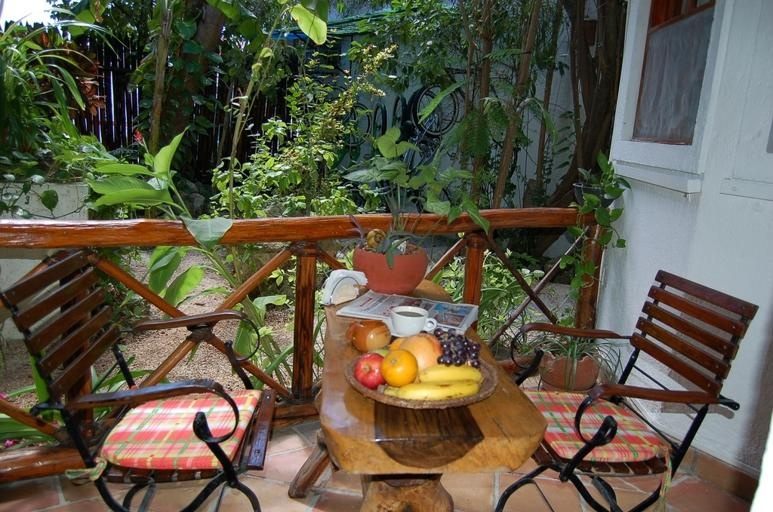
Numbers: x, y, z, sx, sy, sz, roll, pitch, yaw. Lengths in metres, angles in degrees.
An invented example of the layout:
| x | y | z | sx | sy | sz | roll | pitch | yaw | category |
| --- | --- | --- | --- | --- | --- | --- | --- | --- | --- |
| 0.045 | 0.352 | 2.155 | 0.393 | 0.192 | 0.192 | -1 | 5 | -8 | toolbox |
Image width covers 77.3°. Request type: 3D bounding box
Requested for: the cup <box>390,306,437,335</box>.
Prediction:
| x | y | z | sx | sy | sz | roll | pitch | yaw | category |
| --- | --- | --- | --- | --- | --- | --- | --- | --- | --- |
| 0.098 | 0.260 | 1.949 | 0.141 | 0.073 | 0.115 | 9 | 5 | 31 | cup |

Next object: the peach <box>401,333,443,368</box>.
| x | y | z | sx | sy | sz | roll | pitch | yaw | category |
| --- | --- | --- | --- | --- | --- | --- | --- | --- | --- |
| 0.119 | 0.324 | 1.709 | 0.115 | 0.105 | 0.113 | 1 | 3 | 7 | peach |

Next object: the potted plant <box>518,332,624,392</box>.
| x | y | z | sx | sy | sz | roll | pitch | yaw | category |
| --- | --- | --- | --- | --- | --- | --- | --- | --- | --- |
| 1.291 | 0.710 | 3.107 | 0.264 | 0.442 | 0.436 | -4 | 8 | -28 | potted plant |

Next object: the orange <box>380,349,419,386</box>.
| x | y | z | sx | sy | sz | roll | pitch | yaw | category |
| --- | --- | --- | --- | --- | --- | --- | --- | --- | --- |
| 0.034 | 0.399 | 1.685 | 0.128 | 0.126 | 0.128 | 10 | 4 | -2 | orange |

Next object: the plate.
| x | y | z | sx | sy | sz | roll | pitch | yaw | category |
| --- | --- | --- | --- | --- | --- | --- | --- | --- | --- |
| 0.114 | 0.373 | 1.737 | 0.389 | 0.142 | 0.295 | -3 | 15 | -24 | plate |

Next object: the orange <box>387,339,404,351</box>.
| x | y | z | sx | sy | sz | roll | pitch | yaw | category |
| --- | --- | --- | --- | --- | --- | --- | --- | --- | --- |
| 0.031 | 0.333 | 1.805 | 0.038 | 0.039 | 0.051 | -5 | 2 | 32 | orange |

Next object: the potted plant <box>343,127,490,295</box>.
| x | y | z | sx | sy | sz | roll | pitch | yaw | category |
| --- | --- | --- | --- | --- | --- | --- | --- | --- | --- |
| 0.294 | -0.448 | 3.392 | 0.681 | 0.809 | 2.448 | 4 | 14 | 9 | potted plant |
